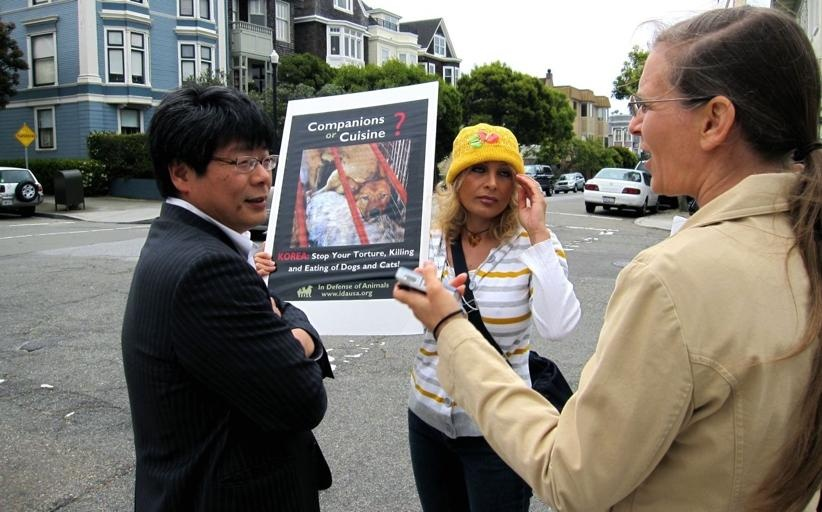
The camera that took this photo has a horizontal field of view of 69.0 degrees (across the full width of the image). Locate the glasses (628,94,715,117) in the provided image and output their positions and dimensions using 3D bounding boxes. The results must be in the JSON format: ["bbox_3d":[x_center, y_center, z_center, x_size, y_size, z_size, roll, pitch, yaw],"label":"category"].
[{"bbox_3d":[0.853,-0.503,1.936,0.220,0.053,0.165,1,17,16],"label":"glasses"}]

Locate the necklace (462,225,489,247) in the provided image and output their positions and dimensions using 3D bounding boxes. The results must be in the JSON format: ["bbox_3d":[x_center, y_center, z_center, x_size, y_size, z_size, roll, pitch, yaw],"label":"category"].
[{"bbox_3d":[0.336,-0.115,3.145,0.099,0.041,0.102,12,28,24],"label":"necklace"}]

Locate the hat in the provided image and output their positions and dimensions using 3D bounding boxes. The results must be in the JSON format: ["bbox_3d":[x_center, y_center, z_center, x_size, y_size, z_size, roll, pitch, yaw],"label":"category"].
[{"bbox_3d":[0.378,-0.558,3.205,0.313,0.206,0.314,-2,-8,-5],"label":"hat"}]

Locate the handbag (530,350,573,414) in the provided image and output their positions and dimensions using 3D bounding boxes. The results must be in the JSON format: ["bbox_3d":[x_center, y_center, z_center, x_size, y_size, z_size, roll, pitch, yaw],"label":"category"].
[{"bbox_3d":[0.683,0.605,2.905,0.100,0.213,0.278,9,23,-13],"label":"handbag"}]

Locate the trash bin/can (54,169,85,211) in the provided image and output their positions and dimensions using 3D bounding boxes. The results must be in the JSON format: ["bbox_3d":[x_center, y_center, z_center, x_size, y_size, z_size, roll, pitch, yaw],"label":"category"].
[{"bbox_3d":[-12.716,-2.455,21.954,0.945,1.469,1.084,-2,11,-16],"label":"trash bin/can"}]
